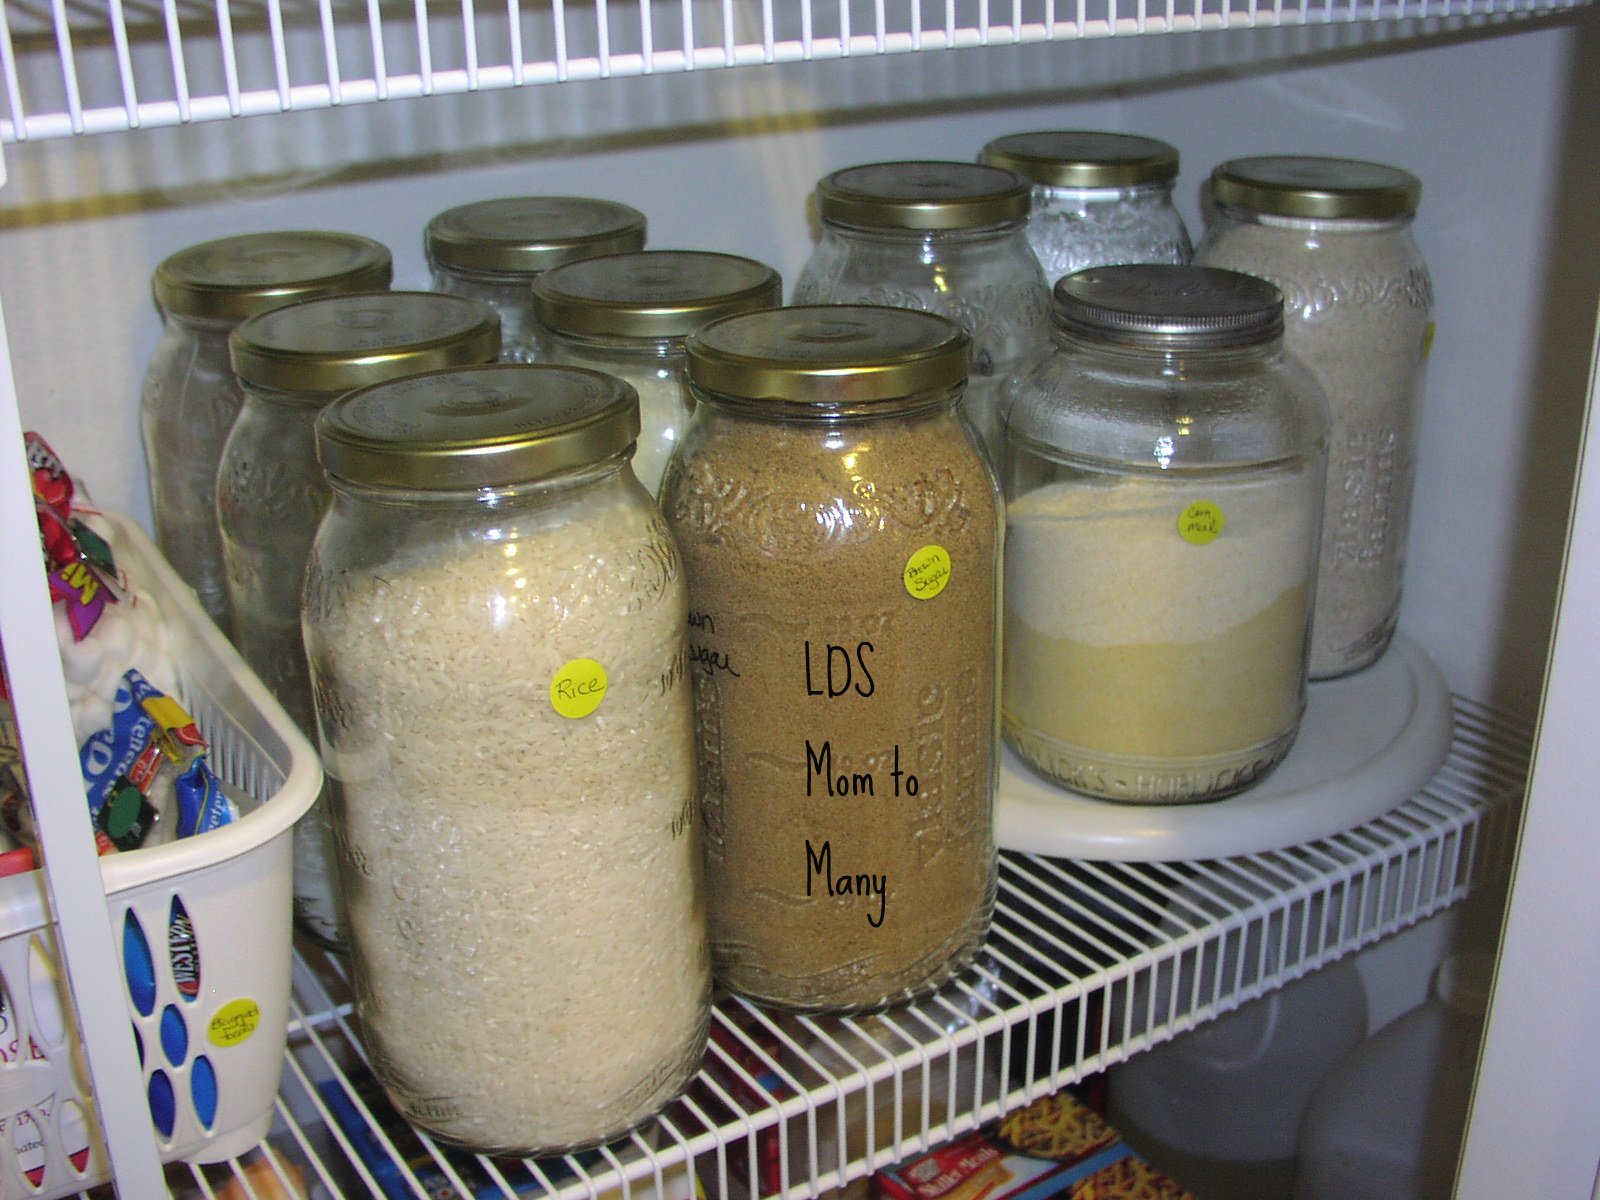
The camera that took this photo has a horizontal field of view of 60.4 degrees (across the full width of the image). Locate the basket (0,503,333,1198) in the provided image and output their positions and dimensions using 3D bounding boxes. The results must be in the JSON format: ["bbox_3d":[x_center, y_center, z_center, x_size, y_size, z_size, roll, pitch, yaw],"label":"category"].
[{"bbox_3d":[-0.317,0.128,0.683,0.156,0.119,0.241,-20,43,-20],"label":"basket"}]
